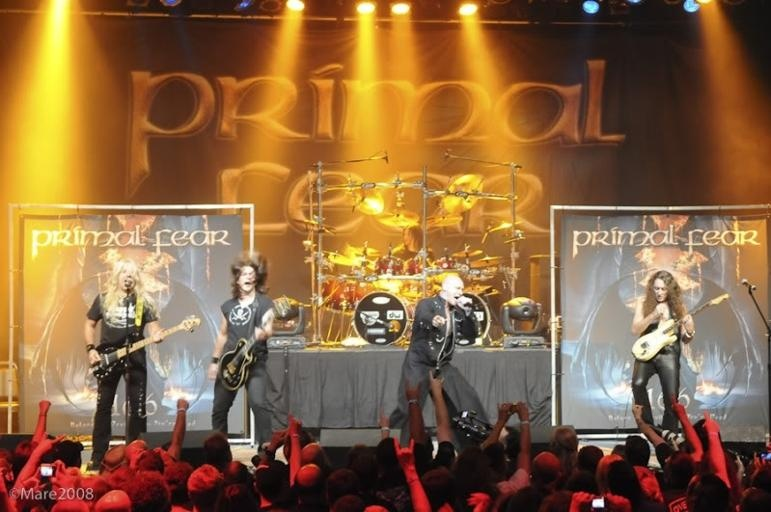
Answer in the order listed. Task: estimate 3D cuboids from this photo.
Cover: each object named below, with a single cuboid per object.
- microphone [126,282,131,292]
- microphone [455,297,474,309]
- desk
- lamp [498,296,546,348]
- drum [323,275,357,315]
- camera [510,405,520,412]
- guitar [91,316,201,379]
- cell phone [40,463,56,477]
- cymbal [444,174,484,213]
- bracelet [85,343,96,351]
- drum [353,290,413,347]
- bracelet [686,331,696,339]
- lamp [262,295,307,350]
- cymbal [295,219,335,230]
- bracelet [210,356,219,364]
[{"bbox_3d":[-3.023,0.363,11.280,0.061,0.094,0.098,2,-8,-1],"label":"microphone"},{"bbox_3d":[0.880,0.517,10.666,0.157,0.126,0.232,0,-6,0],"label":"microphone"},{"bbox_3d":[0.756,1.930,13.086,3.946,1.272,1.345,8,-16,-43],"label":"desk"},{"bbox_3d":[1.841,0.932,12.799,0.747,0.855,0.717,0,-16,-2],"label":"lamp"},{"bbox_3d":[-0.625,0.551,13.598,0.421,0.412,0.501,8,4,7],"label":"drum"},{"bbox_3d":[1.253,1.458,9.165,0.093,0.051,0.090,-23,-16,31],"label":"camera"},{"bbox_3d":[-2.897,1.106,11.413,0.868,0.238,0.117,-24,1,-9],"label":"guitar"},{"bbox_3d":[-2.883,1.835,8.181,0.109,0.074,0.102,-2,-4,7],"label":"cell phone"},{"bbox_3d":[1.108,-0.877,13.893,0.567,0.521,1.066,-1,-6,3],"label":"cymbal"},{"bbox_3d":[-3.458,1.088,11.279,0.109,0.066,0.110,-16,-23,42],"label":"bracelet"},{"bbox_3d":[-0.020,0.866,12.723,0.725,0.638,0.245,4,-7,4],"label":"drum"},{"bbox_3d":[3.707,0.954,11.539,0.094,0.106,0.106,-3,-1,43],"label":"bracelet"},{"bbox_3d":[-1.224,0.868,12.322,0.691,0.687,0.713,1,-12,-3],"label":"lamp"},{"bbox_3d":[-1.098,-0.469,14.118,0.320,0.078,0.326,8,3,8],"label":"cymbal"},{"bbox_3d":[-1.969,1.212,11.090,0.074,0.048,0.069,0,-7,1],"label":"bracelet"}]
